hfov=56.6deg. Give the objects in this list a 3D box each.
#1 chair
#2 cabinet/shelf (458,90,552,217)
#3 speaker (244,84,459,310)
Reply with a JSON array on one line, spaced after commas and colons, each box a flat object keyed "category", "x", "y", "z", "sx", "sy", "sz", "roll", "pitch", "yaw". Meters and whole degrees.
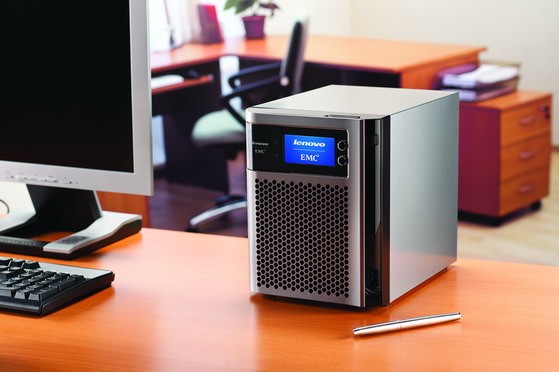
[{"category": "chair", "x": 0.032, "y": -0.437, "z": 2.881, "sx": 0.815, "sy": 1.120, "sz": 0.816, "roll": 4, "pitch": 20, "yaw": 7}, {"category": "cabinet/shelf", "x": 0.899, "y": -0.134, "z": 2.295, "sx": 0.429, "sy": 0.484, "sz": 0.426, "roll": -13, "pitch": 16, "yaw": -23}, {"category": "speaker", "x": 0.158, "y": -0.006, "z": 1.135, "sx": 0.340, "sy": 0.416, "sz": 0.469, "roll": 6, "pitch": 14, "yaw": 34}]
